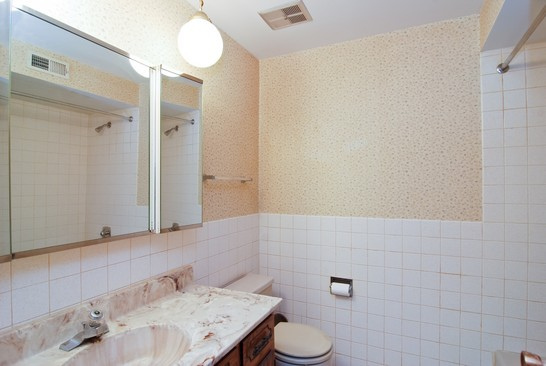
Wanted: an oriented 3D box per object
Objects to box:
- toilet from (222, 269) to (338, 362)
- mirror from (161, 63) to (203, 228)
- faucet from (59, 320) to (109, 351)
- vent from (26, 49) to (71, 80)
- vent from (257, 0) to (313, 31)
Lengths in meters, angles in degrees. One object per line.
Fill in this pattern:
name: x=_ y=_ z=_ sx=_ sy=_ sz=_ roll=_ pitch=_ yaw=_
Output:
toilet: x=0.053 y=0.982 z=3.037 sx=0.864 sy=0.558 sz=0.600 roll=-4 pitch=-1 yaw=37
mirror: x=-0.631 y=-0.243 z=2.550 sx=0.074 sy=1.084 sz=0.351 roll=0 pitch=1 yaw=29
faucet: x=-1.055 y=0.874 z=2.066 sx=0.128 sy=0.098 sz=0.235 roll=9 pitch=0 yaw=24
vent: x=-1.248 y=-0.658 z=2.015 sx=0.019 sy=0.137 sz=0.196 roll=0 pitch=-5 yaw=44
vent: x=0.098 y=-1.344 z=2.882 sx=0.216 sy=0.023 sz=0.202 roll=-5 pitch=-15 yaw=23
